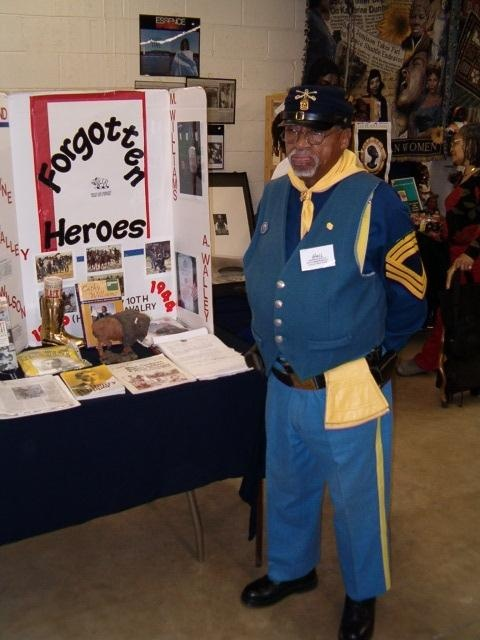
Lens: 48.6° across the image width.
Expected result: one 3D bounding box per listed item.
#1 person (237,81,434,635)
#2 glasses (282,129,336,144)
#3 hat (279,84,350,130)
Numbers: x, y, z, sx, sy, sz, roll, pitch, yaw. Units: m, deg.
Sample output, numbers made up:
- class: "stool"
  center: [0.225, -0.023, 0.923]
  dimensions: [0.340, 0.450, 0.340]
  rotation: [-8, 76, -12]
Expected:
- class: "person"
  center: [0.189, 0.126, 1.347]
  dimensions: [0.326, 1.331, 0.426]
  rotation: [-9, 13, -43]
- class: "glasses"
  center: [0.149, -0.409, 1.184]
  dimensions: [0.105, 0.038, 0.046]
  rotation: [3, 10, 14]
- class: "hat"
  center: [0.171, -0.468, 1.179]
  dimensions: [0.152, 0.103, 0.088]
  rotation: [1, 10, 6]
